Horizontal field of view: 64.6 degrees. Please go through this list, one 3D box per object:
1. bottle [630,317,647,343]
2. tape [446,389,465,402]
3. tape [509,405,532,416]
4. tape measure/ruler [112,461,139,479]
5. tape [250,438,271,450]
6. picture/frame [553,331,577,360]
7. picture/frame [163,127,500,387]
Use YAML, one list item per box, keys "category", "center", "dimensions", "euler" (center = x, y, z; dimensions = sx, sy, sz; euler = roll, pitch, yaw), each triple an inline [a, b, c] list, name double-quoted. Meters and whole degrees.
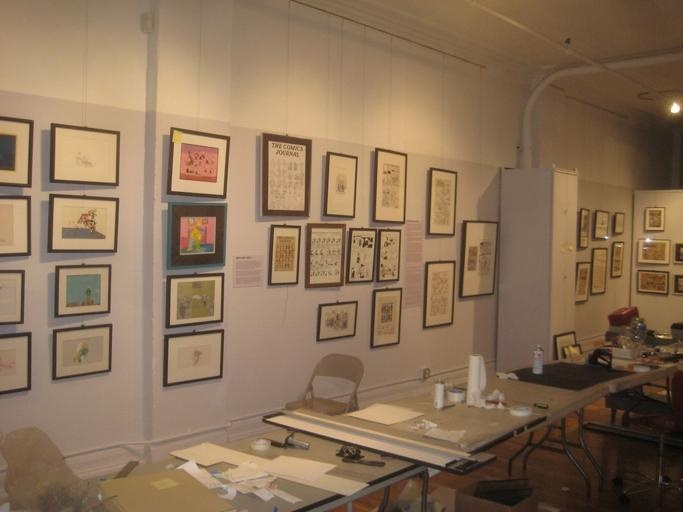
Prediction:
- category: "bottle"
  center: [3.714, 0.927, 6.725]
  dimensions: [0.136, 0.290, 0.339]
  euler: [6, 7, 38]
- category: "tape"
  center: [0.948, 1.142, 4.453]
  dimensions: [0.083, 0.073, 0.110]
  euler: [-3, 7, -37]
- category: "tape"
  center: [1.377, 1.197, 4.146]
  dimensions: [0.159, 0.046, 0.136]
  euler: [4, 7, 18]
- category: "tape measure/ruler"
  center: [-1.337, 1.326, 3.334]
  dimensions: [0.072, 0.008, 0.201]
  euler: [37, 6, 0]
- category: "tape"
  center: [-0.542, 1.274, 3.656]
  dimensions: [0.074, 0.047, 0.084]
  euler: [1, -8, -1]
- category: "picture/frame"
  center: [3.088, 1.253, 7.497]
  dimensions: [0.387, 0.458, 0.047]
  euler: [-1, -6, -39]
- category: "picture/frame"
  center: [0.352, 0.087, 6.492]
  dimensions: [3.981, 3.176, 0.244]
  euler: [-3, 7, -39]
